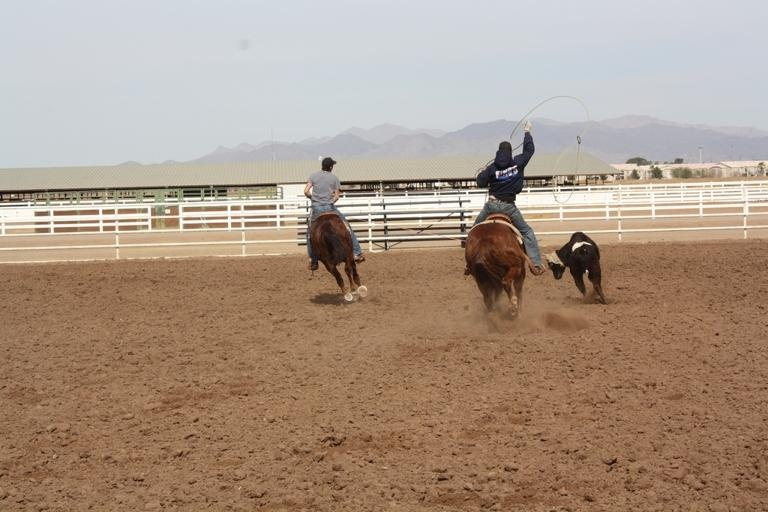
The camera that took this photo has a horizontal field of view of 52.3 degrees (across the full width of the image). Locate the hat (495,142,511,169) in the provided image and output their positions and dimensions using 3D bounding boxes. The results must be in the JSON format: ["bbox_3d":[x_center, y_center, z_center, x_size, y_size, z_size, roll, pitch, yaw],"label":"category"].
[{"bbox_3d":[1.859,-1.568,12.250,0.278,0.419,0.251,1,10,9],"label":"hat"}]

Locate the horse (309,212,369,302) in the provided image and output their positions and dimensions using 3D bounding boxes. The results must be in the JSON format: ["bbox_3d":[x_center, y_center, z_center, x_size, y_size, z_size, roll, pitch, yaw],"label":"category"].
[{"bbox_3d":[-0.844,-0.140,14.020,0.598,1.745,2.383,-18,1,0],"label":"horse"}]

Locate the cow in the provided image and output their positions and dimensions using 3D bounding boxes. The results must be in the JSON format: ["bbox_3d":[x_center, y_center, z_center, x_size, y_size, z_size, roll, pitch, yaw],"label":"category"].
[{"bbox_3d":[3.416,0.002,13.611,0.468,0.925,1.626,-8,22,10],"label":"cow"}]

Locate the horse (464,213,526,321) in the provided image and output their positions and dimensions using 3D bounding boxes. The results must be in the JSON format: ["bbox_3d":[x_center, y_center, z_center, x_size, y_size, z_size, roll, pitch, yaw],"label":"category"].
[{"bbox_3d":[1.945,0.042,12.655,0.731,1.641,2.490,-8,2,18],"label":"horse"}]
